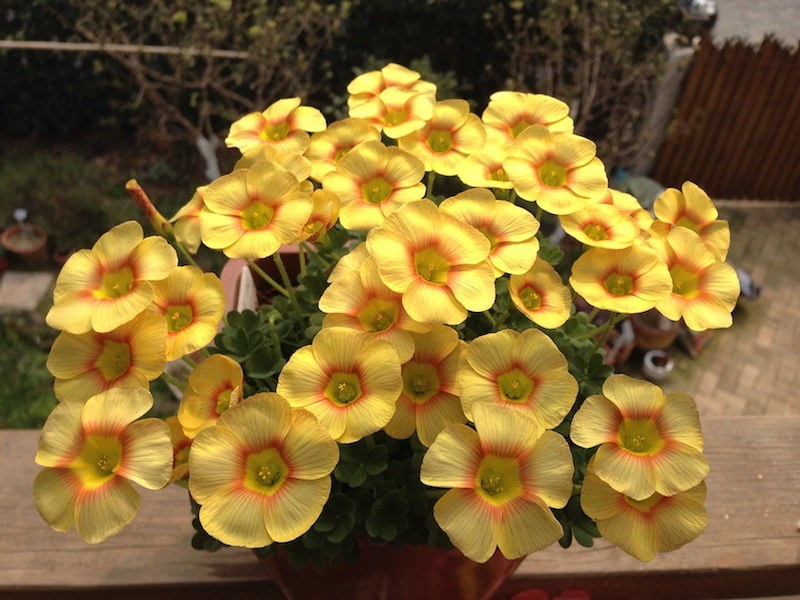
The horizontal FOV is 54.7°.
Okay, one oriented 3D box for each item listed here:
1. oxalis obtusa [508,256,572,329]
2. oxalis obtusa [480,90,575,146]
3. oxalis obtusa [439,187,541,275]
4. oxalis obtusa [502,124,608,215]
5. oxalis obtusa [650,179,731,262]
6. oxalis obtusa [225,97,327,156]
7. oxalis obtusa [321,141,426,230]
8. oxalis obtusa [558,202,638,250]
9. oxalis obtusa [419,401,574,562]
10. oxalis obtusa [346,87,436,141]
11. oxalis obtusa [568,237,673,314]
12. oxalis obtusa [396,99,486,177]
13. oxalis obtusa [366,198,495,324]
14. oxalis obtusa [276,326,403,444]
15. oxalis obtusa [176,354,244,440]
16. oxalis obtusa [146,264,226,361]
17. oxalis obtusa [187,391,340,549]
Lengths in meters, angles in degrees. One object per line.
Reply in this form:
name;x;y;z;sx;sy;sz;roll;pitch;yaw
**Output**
oxalis obtusa;0.370;-0.014;2.081;0.165;0.089;0.189;-2;73;-18
oxalis obtusa;0.370;-0.529;2.304;0.275;0.310;0.115;-1;82;11
oxalis obtusa;0.232;-0.180;2.128;0.270;0.296;0.133;-1;68;40
oxalis obtusa;0.423;-0.359;2.187;0.269;0.282;0.147;6;73;-25
oxalis obtusa;0.828;-0.215;2.210;0.229;0.249;0.113;38;83;15
oxalis obtusa;-0.364;-0.520;2.340;0.233;0.238;0.084;0;81;-24
oxalis obtusa;-0.061;-0.305;2.145;0.271;0.266;0.124;-9;47;-14
oxalis obtusa;0.538;-0.184;2.114;0.168;0.183;0.061;22;65;-10
oxalis obtusa;0.232;0.451;1.889;0.362;0.221;0.299;15;48;6
oxalis obtusa;-0.027;-0.548;2.271;0.173;0.218;0.077;-1;82;24
oxalis obtusa;0.595;-0.056;2.118;0.245;0.273;0.121;-11;75;34
oxalis obtusa;0.118;-0.487;2.268;0.187;0.215;0.102;10;85;11
oxalis obtusa;0.092;-0.090;1.980;0.271;0.174;0.338;-33;60;-30
oxalis obtusa;-0.136;0.203;1.945;0.283;0.136;0.302;-34;75;-8
oxalis obtusa;-0.478;0.245;1.991;0.105;0.237;0.226;28;63;-22
oxalis obtusa;-0.577;0.033;2.008;0.241;0.122;0.248;-13;28;-28
oxalis obtusa;-0.326;0.436;1.910;0.374;0.168;0.380;17;48;13
